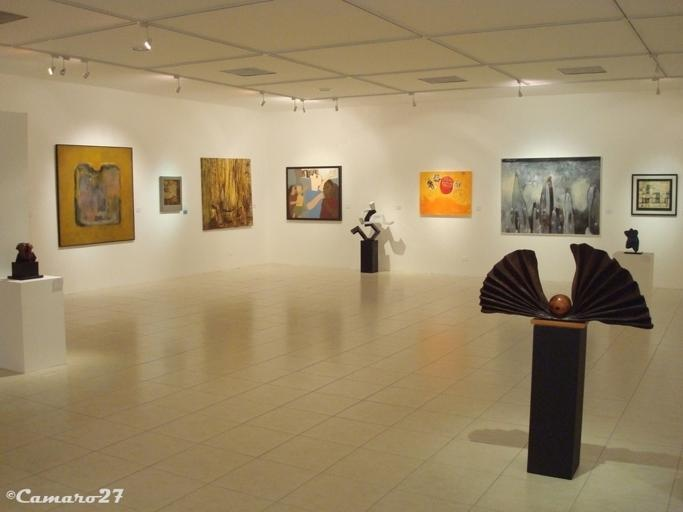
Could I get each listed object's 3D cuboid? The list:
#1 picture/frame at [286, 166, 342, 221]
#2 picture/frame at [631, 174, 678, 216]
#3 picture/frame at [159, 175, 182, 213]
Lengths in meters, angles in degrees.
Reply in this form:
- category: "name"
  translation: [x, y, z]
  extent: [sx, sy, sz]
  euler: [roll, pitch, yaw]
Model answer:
- category: "picture/frame"
  translation: [-0.869, -2.196, 16.580]
  extent: [1.798, 1.657, 0.130]
  euler: [2, 4, 25]
- category: "picture/frame"
  translation: [8.319, -1.626, 12.520]
  extent: [1.049, 1.210, 0.090]
  euler: [1, 0, 29]
- category: "picture/frame"
  translation: [-5.155, -1.829, 14.306]
  extent: [0.093, 1.109, 0.751]
  euler: [4, 7, 35]
